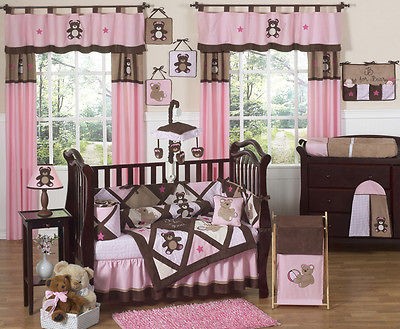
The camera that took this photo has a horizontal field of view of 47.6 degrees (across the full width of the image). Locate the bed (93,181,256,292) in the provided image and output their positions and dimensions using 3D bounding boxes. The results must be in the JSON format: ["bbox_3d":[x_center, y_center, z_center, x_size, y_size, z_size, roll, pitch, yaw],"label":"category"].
[{"bbox_3d":[-0.286,0.479,4.116,1.487,0.768,1.176,2,9,-21],"label":"bed"}]

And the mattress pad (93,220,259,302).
[{"bbox_3d":[-0.183,0.817,3.544,1.278,0.562,0.253,-2,11,-13],"label":"mattress pad"}]

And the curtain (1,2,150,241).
[{"bbox_3d":[-1.694,-0.503,4.776,1.430,2.385,0.324,1,7,-9],"label":"curtain"}]

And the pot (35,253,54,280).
[{"bbox_3d":[-1.186,0.774,3.436,0.123,0.207,0.127,4,7,0],"label":"pot"}]

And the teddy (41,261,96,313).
[{"bbox_3d":[-0.909,0.828,3.281,0.403,0.414,0.301,8,-5,-17],"label":"teddy"}]

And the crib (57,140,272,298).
[{"bbox_3d":[-0.293,-0.016,3.907,2.063,1.653,1.216,-3,9,-15],"label":"crib"}]

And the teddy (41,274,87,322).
[{"bbox_3d":[-0.942,0.927,3.145,0.236,0.320,0.284,2,4,-15],"label":"teddy"}]

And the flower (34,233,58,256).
[{"bbox_3d":[-1.195,0.625,3.477,0.150,0.206,0.173,-7,12,-33],"label":"flower"}]
